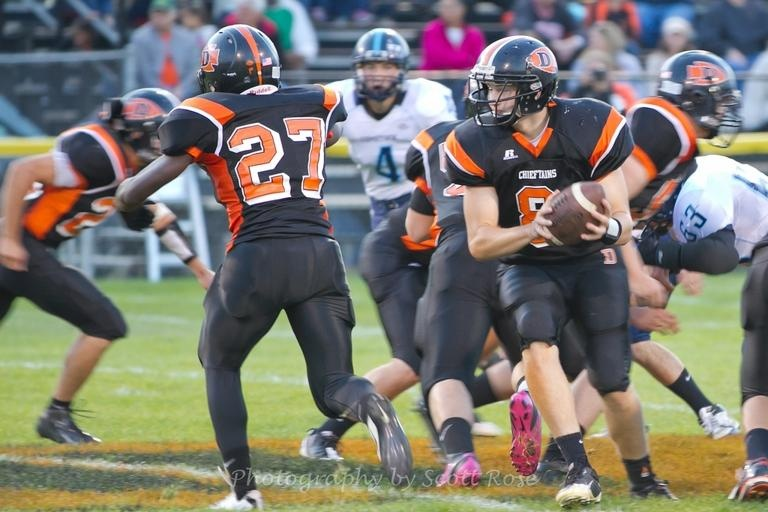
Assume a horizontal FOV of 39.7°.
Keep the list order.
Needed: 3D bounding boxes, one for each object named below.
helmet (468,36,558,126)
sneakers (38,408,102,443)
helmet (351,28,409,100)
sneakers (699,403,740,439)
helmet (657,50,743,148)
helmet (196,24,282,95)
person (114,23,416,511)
[{"bbox_3d":[0.731,-0.999,5.899,0.575,0.395,0.431,-14,23,-28],"label":"helmet"},{"bbox_3d":[-2.030,1.071,6.707,0.435,0.192,0.154,27,0,-44],"label":"sneakers"},{"bbox_3d":[-0.006,-1.419,7.725,0.442,0.469,0.543,1,15,7],"label":"helmet"},{"bbox_3d":[2.084,1.024,6.663,0.155,0.132,0.273,-33,13,-7],"label":"sneakers"},{"bbox_3d":[1.893,-1.018,6.596,0.606,0.568,0.453,0,9,-15],"label":"helmet"},{"bbox_3d":[-0.835,-1.093,6.027,0.397,0.443,0.462,-8,15,-24],"label":"helmet"},{"bbox_3d":[-0.607,0.209,5.683,1.319,2.209,0.715,-3,8,-13],"label":"person"}]
